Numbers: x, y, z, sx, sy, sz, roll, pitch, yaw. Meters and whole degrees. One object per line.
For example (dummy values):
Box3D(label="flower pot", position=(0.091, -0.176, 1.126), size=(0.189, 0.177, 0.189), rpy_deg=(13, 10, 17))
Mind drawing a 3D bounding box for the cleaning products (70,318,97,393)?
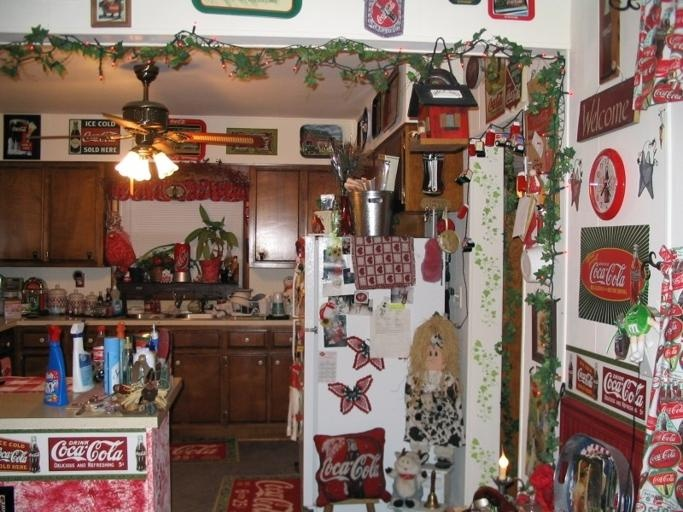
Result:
Box3D(label="cleaning products", position=(-1.445, 0.560, 3.701), size=(0.113, 0.394, 0.246), rpy_deg=(0, -3, -21))

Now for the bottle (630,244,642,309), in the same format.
Box3D(label="bottle", position=(1.311, 0.076, 2.943), size=(0.055, 0.260, 0.058), rpy_deg=(-1, -3, 0))

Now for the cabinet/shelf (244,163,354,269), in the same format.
Box3D(label="cabinet/shelf", position=(-0.369, -0.330, 5.484), size=(0.899, 0.892, 0.324), rpy_deg=(0, 4, -1))

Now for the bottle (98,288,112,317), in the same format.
Box3D(label="bottle", position=(-2.181, 0.431, 6.082), size=(0.131, 0.224, 0.313), rpy_deg=(0, -2, -20))

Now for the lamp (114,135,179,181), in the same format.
Box3D(label="lamp", position=(-1.296, -0.646, 4.463), size=(0.379, 0.176, 0.428), rpy_deg=(1, 11, 3))

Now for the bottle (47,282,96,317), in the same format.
Box3D(label="bottle", position=(-2.490, 0.407, 6.116), size=(0.311, 0.220, 0.317), rpy_deg=(3, 0, 0))

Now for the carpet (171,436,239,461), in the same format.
Box3D(label="carpet", position=(-1.123, 1.587, 5.457), size=(0.528, 0.072, 0.535), rpy_deg=(-1, -2, -13))

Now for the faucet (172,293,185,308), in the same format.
Box3D(label="faucet", position=(-1.519, 0.410, 6.220), size=(0.098, 0.134, 0.182), rpy_deg=(0, -2, -14))

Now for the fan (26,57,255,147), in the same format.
Box3D(label="fan", position=(-1.376, -1.014, 4.478), size=(1.009, 0.538, 1.374), rpy_deg=(-4, 15, -38))

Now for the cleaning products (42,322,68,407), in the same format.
Box3D(label="cleaning products", position=(-1.543, 0.586, 3.590), size=(0.124, 0.423, 0.197), rpy_deg=(0, -3, -24))

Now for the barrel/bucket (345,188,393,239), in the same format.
Box3D(label="barrel/bucket", position=(0.195, -0.273, 4.139), size=(0.251, 0.233, 0.292), rpy_deg=(0, -2, -1))

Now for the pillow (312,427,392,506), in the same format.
Box3D(label="pillow", position=(0.057, 1.337, 4.188), size=(0.449, 0.461, 0.152), rpy_deg=(-1, -3, -4))

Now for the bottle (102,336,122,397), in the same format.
Box3D(label="bottle", position=(-1.246, 0.598, 3.624), size=(0.085, 0.310, 0.203), rpy_deg=(1, -3, -34))
